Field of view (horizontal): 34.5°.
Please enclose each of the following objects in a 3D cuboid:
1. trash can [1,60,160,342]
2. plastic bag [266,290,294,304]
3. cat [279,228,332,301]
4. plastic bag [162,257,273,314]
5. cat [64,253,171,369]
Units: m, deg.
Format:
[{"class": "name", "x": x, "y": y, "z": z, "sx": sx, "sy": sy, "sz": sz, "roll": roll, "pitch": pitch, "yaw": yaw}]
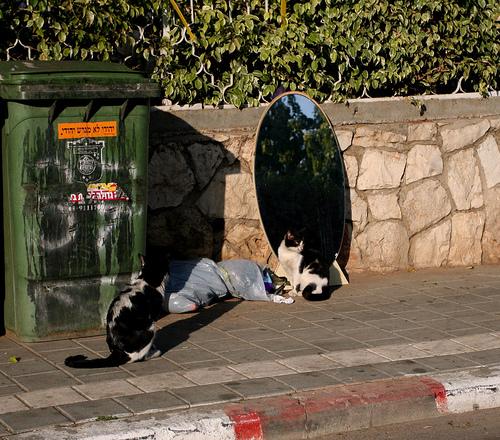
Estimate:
[{"class": "trash can", "x": -1.561, "y": -0.187, "z": 6.794, "sx": 1.309, "sy": 2.188, "sz": 1.122, "roll": -8, "pitch": 16, "yaw": -27}, {"class": "plastic bag", "x": 0.283, "y": 0.724, "z": 7.514, "sx": 0.249, "sy": 0.114, "sz": 0.090, "roll": -4, "pitch": 0, "yaw": 23}, {"class": "cat", "x": 0.524, "y": 0.420, "z": 7.737, "sx": 0.463, "sy": 0.670, "sz": 0.468, "roll": -5, "pitch": 0, "yaw": 3}, {"class": "plastic bag", "x": -0.340, "y": 0.567, "z": 7.639, "sx": 1.163, "sy": 0.341, "sz": 0.946, "roll": -7, "pitch": 20, "yaw": -7}, {"class": "cat", "x": -0.908, "y": 0.666, "z": 6.009, "sx": 0.403, "sy": 0.822, "sz": 0.875, "roll": -4, "pitch": 0, "yaw": 29}]
